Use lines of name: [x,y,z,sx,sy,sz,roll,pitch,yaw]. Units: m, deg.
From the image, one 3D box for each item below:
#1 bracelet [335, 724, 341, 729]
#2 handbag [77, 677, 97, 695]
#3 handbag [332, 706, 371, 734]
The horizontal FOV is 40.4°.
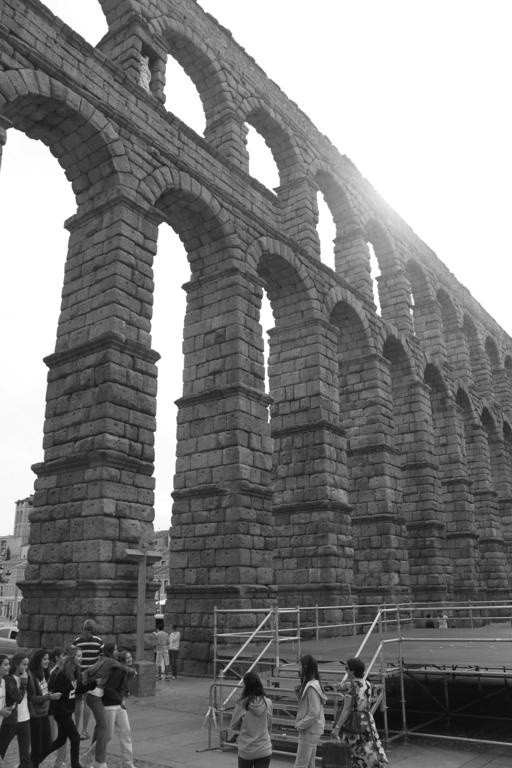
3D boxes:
bracelet: [0.668,2.822,5.724,0.026,0.040,0.037,-8,-28,35]
handbag: [-1.590,2.822,6.495,0.138,0.182,0.066,14,5,-5]
handbag: [0.783,2.776,5.725,0.264,0.208,0.134,-2,-23,7]
